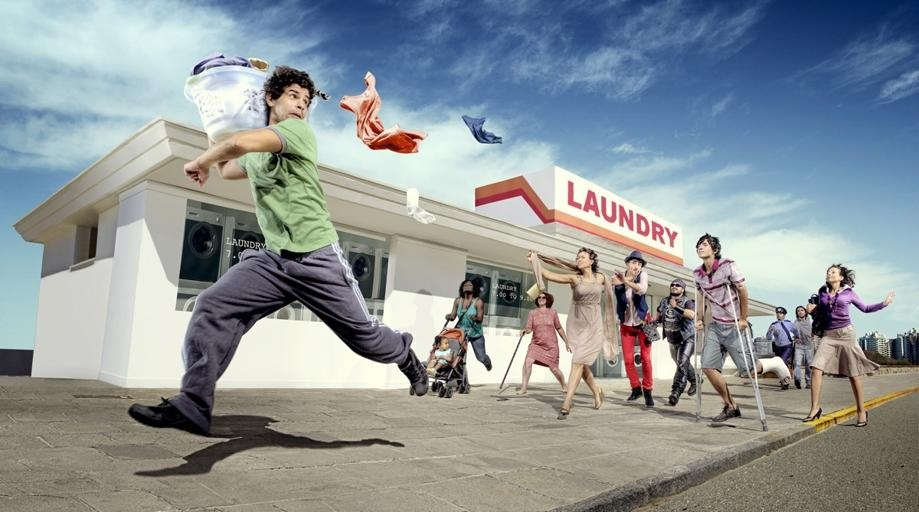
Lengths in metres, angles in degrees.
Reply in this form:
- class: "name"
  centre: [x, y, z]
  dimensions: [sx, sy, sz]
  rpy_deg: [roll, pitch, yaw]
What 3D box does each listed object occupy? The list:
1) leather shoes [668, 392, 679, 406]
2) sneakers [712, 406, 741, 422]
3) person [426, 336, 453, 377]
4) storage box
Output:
- class: "leather shoes"
  centre: [4.975, 3.383, 10.209]
  dimensions: [0.196, 0.218, 0.522]
  rpy_deg: [-6, -39, 15]
- class: "sneakers"
  centre: [4.924, 2.908, 8.134]
  dimensions: [0.730, 0.257, 0.248]
  rpy_deg: [0, -17, -23]
- class: "person"
  centre: [-0.484, 2.354, 10.333]
  dimensions: [0.618, 0.503, 1.253]
  rpy_deg: [2, 11, 17]
- class: "storage box"
  centre: [-2.379, -1.686, 4.497]
  dimensions: [0.805, 1.028, 0.324]
  rpy_deg: [-2, -16, 6]
